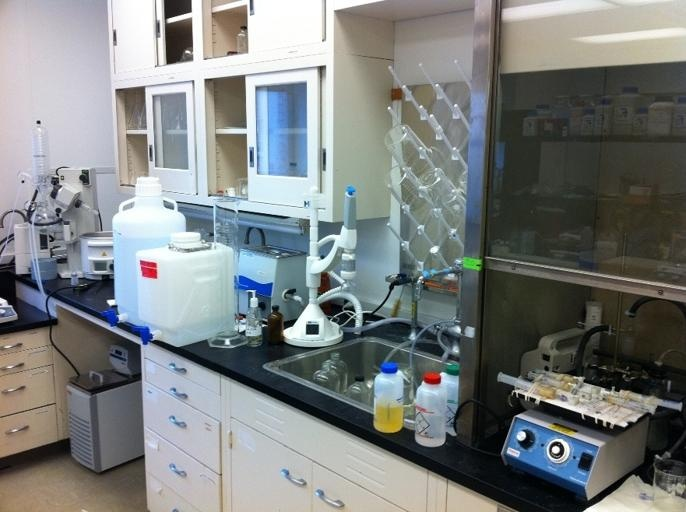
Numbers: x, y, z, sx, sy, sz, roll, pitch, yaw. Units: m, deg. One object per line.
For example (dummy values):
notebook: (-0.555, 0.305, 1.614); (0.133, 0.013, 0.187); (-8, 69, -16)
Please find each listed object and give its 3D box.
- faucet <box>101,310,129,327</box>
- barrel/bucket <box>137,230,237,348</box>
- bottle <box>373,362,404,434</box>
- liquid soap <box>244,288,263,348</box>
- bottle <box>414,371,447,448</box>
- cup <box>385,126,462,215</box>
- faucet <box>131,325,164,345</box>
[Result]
faucet: (-1.178, 0.329, 2.857); (0.086, 0.103, 0.137); (-1, -10, 11)
barrel/bucket: (-0.674, 0.121, 2.749); (0.603, 0.619, 0.341); (-13, 20, -43)
bottle: (0.148, 0.473, 1.882); (0.118, 0.236, 0.113); (-1, 10, 0)
liquid soap: (-0.427, 0.289, 2.606); (0.075, 0.224, 0.199); (-3, 11, -9)
bottle: (0.285, 0.502, 1.793); (0.099, 0.235, 0.068); (0, 10, 4)
cup: (0.291, -0.376, 2.229); (0.159, 0.326, 0.479); (-6, 12, -27)
faucet: (-0.937, 0.382, 2.619); (0.091, 0.111, 0.147); (6, -14, -5)
